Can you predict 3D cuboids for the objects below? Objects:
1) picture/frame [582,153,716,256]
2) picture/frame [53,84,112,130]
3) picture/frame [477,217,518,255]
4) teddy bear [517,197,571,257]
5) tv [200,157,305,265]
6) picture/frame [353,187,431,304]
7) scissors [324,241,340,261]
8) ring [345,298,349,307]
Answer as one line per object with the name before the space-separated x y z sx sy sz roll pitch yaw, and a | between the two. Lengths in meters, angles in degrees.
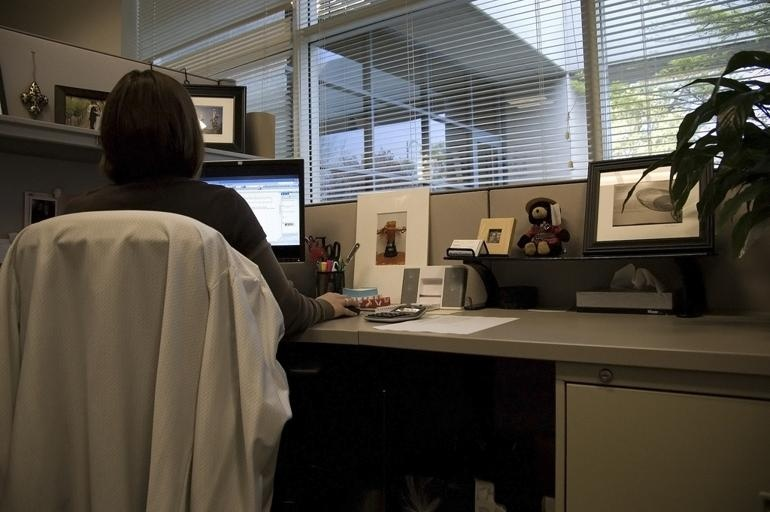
picture/frame | 0.902 -0.160 2.015 0.365 0.332 0.041 -1 -23 19
picture/frame | -1.361 -0.658 2.720 0.208 0.191 0.016 3 -14 -24
picture/frame | 0.439 -0.075 2.308 0.127 0.134 0.017 -12 -29 22
teddy bear | 0.610 -0.103 2.287 0.177 0.246 0.136 -12 -25 36
tv | -0.453 -0.157 2.138 0.416 0.381 0.046 1 2 10
picture/frame | 0.041 -0.030 2.506 0.441 0.641 0.046 -3 -12 25
scissors | -0.219 -0.023 2.673 0.062 0.086 0.090 2 0 4
ring | -0.138 0.165 2.177 0.005 0.020 0.021 -9 -13 40
